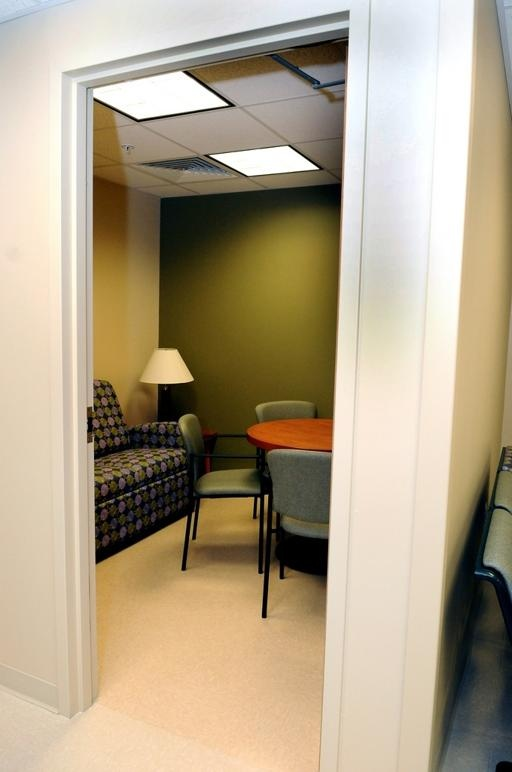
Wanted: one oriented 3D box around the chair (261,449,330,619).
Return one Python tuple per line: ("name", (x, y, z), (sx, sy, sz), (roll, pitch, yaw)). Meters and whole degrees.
("chair", (0.167, 0.604, 2.492), (0.266, 0.746, 0.538), (2, 5, 4))
